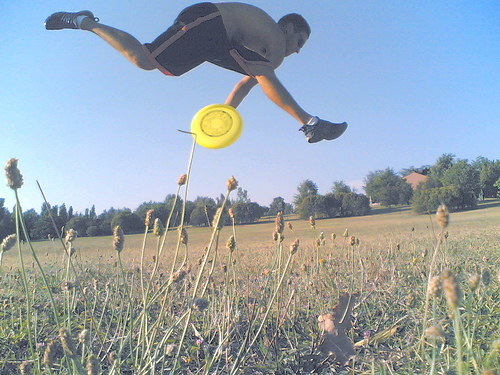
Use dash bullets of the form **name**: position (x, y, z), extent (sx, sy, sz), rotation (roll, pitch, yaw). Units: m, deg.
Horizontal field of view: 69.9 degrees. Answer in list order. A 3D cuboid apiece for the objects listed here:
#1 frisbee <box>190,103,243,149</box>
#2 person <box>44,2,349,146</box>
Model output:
- **frisbee**: position (-0.298, -0.497, 2.935), extent (0.487, 0.243, 0.246), rotation (2, 0, -40)
- **person**: position (-0.514, -1.266, 3.853), extent (3.032, 0.988, 0.791), rotation (3, 0, 16)
